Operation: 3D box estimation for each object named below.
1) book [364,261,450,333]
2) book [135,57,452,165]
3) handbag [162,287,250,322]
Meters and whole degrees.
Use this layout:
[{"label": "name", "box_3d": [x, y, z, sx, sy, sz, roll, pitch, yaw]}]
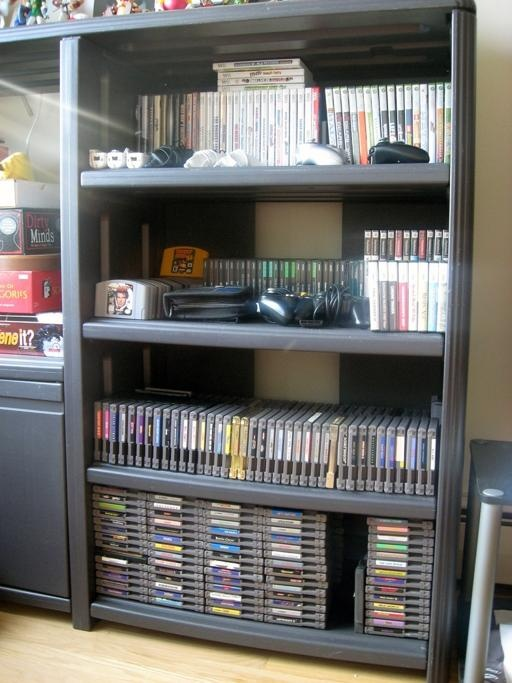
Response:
[{"label": "book", "box_3d": [0.323, -0.095, 1.383, 0.162, 0.151, 0.029, 3, 10, 21]}, {"label": "book", "box_3d": [0.053, -0.557, 1.597, 0.822, 0.247, 0.242, 6, 11, 32]}, {"label": "handbag", "box_3d": [-0.116, -0.089, 1.583, 0.225, 0.080, 0.090, 0, 10, -1]}]
